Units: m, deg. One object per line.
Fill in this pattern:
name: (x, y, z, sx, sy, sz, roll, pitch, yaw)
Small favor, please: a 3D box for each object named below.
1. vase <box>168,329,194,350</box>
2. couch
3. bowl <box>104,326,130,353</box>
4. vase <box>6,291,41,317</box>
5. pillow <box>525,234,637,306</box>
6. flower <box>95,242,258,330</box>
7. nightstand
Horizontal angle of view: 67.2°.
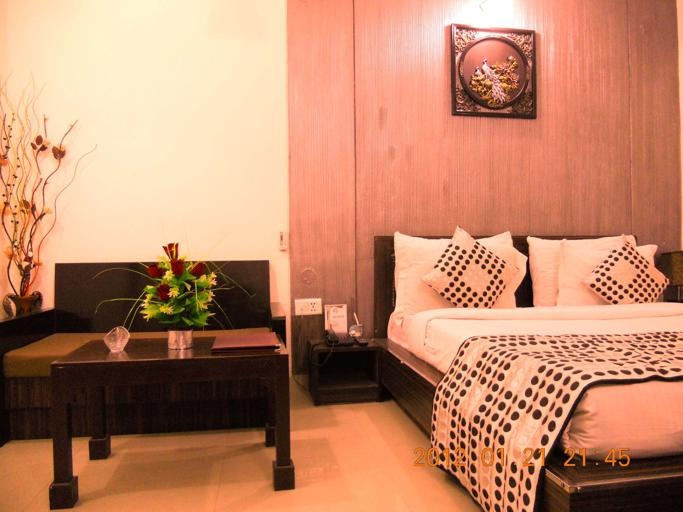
vase: (-0.941, 0.486, 3.018, 0.109, 0.089, 0.115, 1, 1, 4)
couch: (-1.435, 0.728, 3.620, 1.837, 1.248, 1.096, 0, -3, -11)
bowl: (-1.299, 0.487, 2.983, 0.133, 0.126, 0.148, 0, -7, 27)
vase: (-2.386, 0.366, 3.837, 0.192, 0.205, 0.230, -2, -4, 20)
pillow: (1.942, 0.134, 4.147, 0.519, 0.456, 0.193, 0, -21, 2)
flower: (-1.003, 0.216, 3.354, 0.774, 0.470, 0.810, -1, -1, 6)
nightstand: (0.021, 0.913, 4.076, 0.526, 0.431, 0.415, -1, 1, -8)
